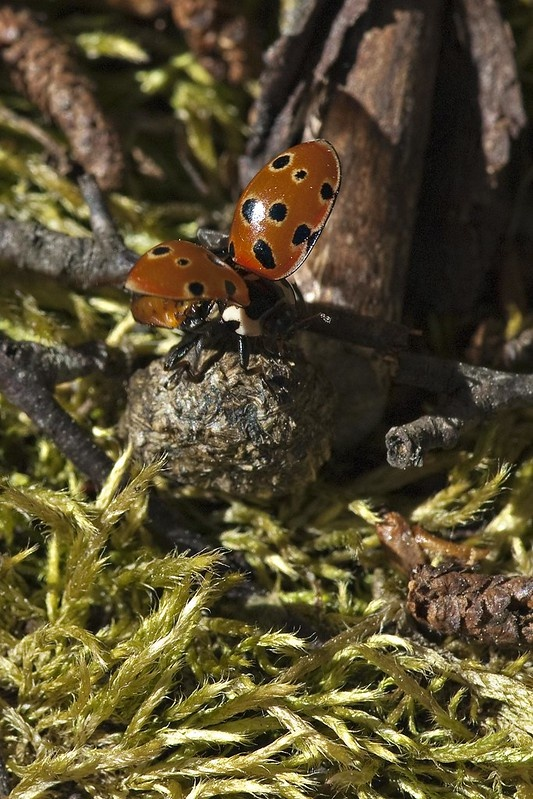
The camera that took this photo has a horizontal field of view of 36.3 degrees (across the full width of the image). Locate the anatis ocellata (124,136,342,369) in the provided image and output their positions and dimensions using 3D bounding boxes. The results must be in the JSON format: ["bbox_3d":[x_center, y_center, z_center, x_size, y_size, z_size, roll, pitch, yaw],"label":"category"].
[{"bbox_3d":[-0.051,-0.175,1.066,0.200,0.290,0.298,17,36,18],"label":"anatis ocellata"}]
